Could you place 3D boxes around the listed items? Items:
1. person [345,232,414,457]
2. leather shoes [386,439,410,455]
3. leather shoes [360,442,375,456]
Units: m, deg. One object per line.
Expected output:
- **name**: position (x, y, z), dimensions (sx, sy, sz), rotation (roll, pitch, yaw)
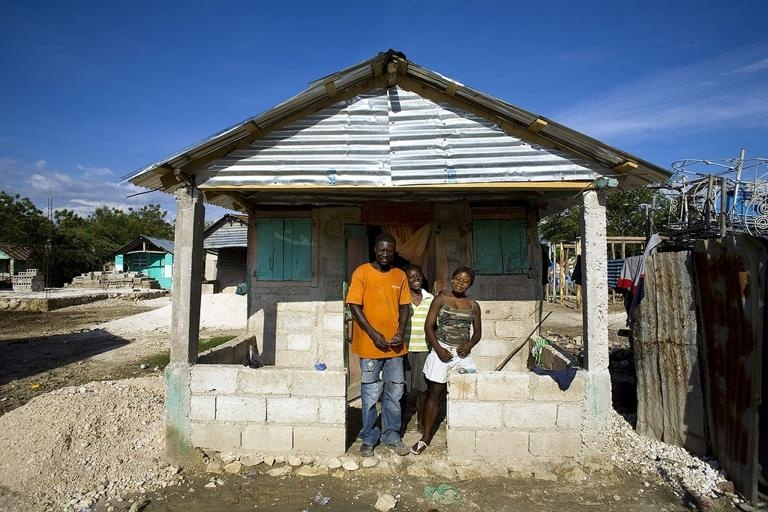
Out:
- **person**: position (-0.062, 1.329, 7.935), dimensions (0.922, 3.320, 0.492), rotation (1, -1, -1)
- **leather shoes**: position (0.233, 2.870, 7.872), dimensions (0.190, 0.125, 0.315), rotation (5, -9, -34)
- **leather shoes**: position (-0.246, 2.899, 7.870), dimensions (0.218, 0.177, 0.122), rotation (1, -1, -5)
